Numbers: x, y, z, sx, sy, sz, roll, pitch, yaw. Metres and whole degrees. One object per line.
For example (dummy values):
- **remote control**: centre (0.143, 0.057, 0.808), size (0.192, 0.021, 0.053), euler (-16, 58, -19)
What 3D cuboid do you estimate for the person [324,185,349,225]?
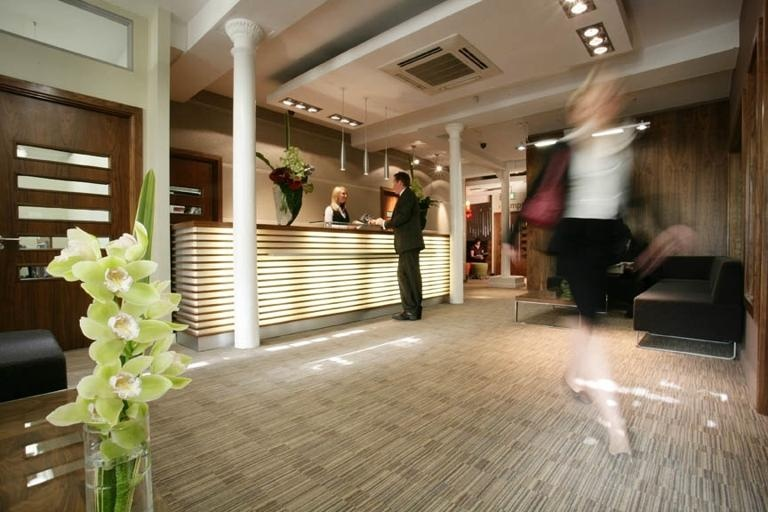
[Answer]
- **person**: centre (-0.740, -0.825, 6.984), size (0.324, 0.632, 1.334), euler (-1, 4, -8)

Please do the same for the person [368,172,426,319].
- **person**: centre (0.261, -0.157, 6.424), size (0.581, 2.125, 0.418), euler (0, 5, 1)

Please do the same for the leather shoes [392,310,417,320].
- **leather shoes**: centre (0.296, 0.850, 6.490), size (0.371, 0.166, 0.129), euler (2, -3, 13)
